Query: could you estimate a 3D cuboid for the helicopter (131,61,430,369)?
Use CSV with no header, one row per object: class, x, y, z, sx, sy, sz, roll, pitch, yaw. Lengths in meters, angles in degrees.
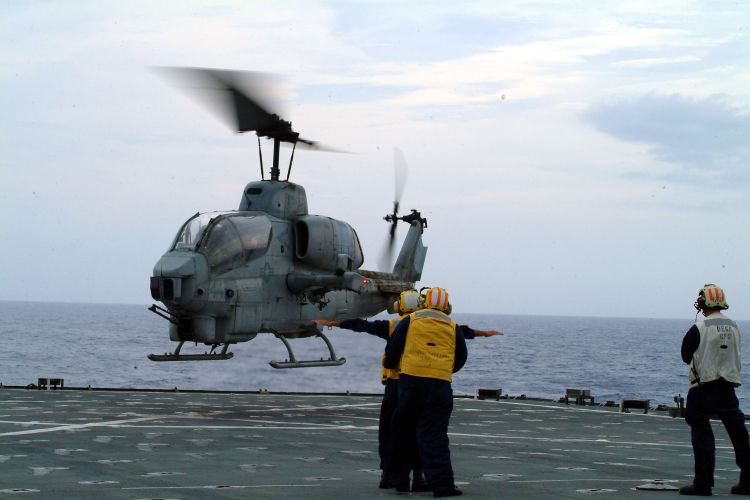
helicopter,-2.555,-0.674,34.855,4.257,7.985,9.833,1,-3,20
